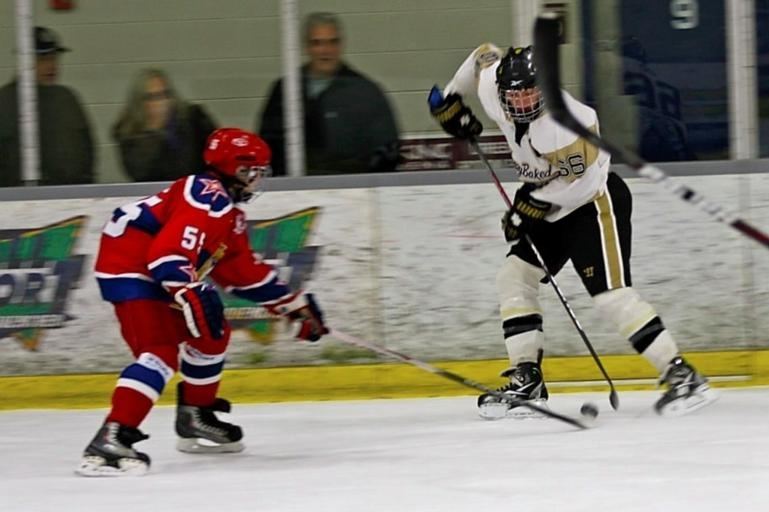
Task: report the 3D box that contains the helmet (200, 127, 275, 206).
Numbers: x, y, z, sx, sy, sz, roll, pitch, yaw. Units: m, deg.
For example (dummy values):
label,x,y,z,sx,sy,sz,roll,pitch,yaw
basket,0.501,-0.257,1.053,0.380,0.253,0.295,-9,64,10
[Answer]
label,x,y,z,sx,sy,sz,roll,pitch,yaw
helmet,-0.579,-0.397,5.115,0.404,0.302,0.307,4,15,-20

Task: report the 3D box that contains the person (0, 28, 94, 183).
label,x,y,z,sx,sy,sz,roll,pitch,yaw
person,-1.741,-0.756,5.933,0.495,0.796,0.167,-4,14,-1

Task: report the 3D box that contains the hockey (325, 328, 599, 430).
label,x,y,z,sx,sy,sz,roll,pitch,yaw
hockey,0.352,0.600,5.673,1.499,0.044,0.088,15,34,-3

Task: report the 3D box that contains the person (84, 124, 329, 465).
label,x,y,z,sx,sy,sz,roll,pitch,yaw
person,-0.873,0.185,4.913,1.081,1.386,0.498,-15,17,-41

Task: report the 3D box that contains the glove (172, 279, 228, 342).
label,x,y,z,sx,sy,sz,roll,pitch,yaw
glove,-0.734,0.219,4.740,0.222,0.211,0.103,-3,-3,-22

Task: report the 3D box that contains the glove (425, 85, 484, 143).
label,x,y,z,sx,sy,sz,roll,pitch,yaw
glove,0.354,-0.684,5.800,0.199,0.310,0.176,-41,4,29
